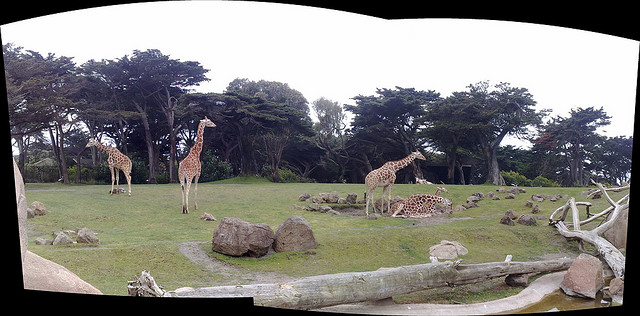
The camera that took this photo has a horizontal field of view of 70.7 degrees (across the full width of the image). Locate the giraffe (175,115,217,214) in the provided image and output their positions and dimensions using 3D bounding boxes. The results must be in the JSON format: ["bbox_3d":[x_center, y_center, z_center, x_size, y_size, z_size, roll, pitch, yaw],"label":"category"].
[{"bbox_3d":[-5.024,0.221,18.006,1.172,3.933,1.606,3,0,-23],"label":"giraffe"}]

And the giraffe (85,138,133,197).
[{"bbox_3d":[-8.379,0.380,18.405,1.999,2.435,0.625,2,0,10],"label":"giraffe"}]

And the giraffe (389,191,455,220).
[{"bbox_3d":[4.058,1.941,18.157,3.274,0.922,0.952,2,-3,-24],"label":"giraffe"}]
